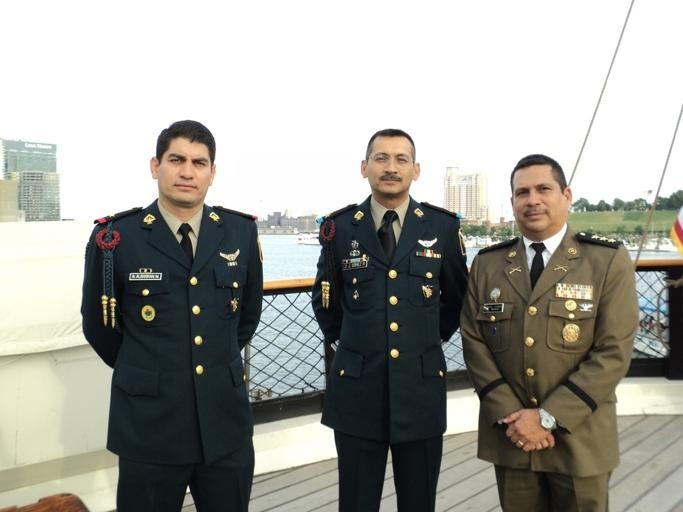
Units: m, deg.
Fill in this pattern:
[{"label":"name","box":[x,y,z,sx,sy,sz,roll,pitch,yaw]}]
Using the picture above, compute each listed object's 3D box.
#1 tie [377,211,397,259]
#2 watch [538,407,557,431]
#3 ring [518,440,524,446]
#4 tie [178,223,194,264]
[{"label":"tie","box":[0.239,-0.111,2.570,0.075,0.264,0.062,6,-13,-2]},{"label":"watch","box":[0.895,0.703,2.201,0.060,0.085,0.027,-22,-23,-6]},{"label":"ring","box":[0.800,0.826,2.254,0.010,0.018,0.031,-2,-49,-23]},{"label":"tie","box":[-0.705,-0.067,2.312,0.049,0.224,0.059,-4,-25,-8]}]
